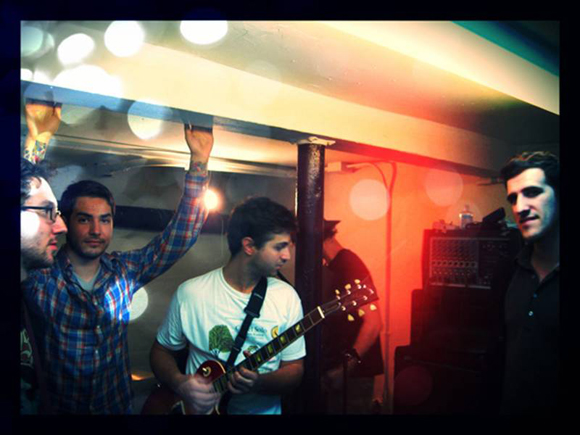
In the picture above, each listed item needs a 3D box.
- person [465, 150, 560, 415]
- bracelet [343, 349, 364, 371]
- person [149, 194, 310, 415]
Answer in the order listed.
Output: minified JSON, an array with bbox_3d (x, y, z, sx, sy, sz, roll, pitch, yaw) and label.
[{"bbox_3d":[1.024,0.276,2.003,0.270,1.018,0.176,4,-1,22],"label":"person"},{"bbox_3d":[0.280,0.628,2.074,0.095,0.085,0.023,-1,12,-5],"label":"bracelet"},{"bbox_3d":[-0.243,0.486,1.984,0.698,1.044,0.578,2,12,-8],"label":"person"}]
